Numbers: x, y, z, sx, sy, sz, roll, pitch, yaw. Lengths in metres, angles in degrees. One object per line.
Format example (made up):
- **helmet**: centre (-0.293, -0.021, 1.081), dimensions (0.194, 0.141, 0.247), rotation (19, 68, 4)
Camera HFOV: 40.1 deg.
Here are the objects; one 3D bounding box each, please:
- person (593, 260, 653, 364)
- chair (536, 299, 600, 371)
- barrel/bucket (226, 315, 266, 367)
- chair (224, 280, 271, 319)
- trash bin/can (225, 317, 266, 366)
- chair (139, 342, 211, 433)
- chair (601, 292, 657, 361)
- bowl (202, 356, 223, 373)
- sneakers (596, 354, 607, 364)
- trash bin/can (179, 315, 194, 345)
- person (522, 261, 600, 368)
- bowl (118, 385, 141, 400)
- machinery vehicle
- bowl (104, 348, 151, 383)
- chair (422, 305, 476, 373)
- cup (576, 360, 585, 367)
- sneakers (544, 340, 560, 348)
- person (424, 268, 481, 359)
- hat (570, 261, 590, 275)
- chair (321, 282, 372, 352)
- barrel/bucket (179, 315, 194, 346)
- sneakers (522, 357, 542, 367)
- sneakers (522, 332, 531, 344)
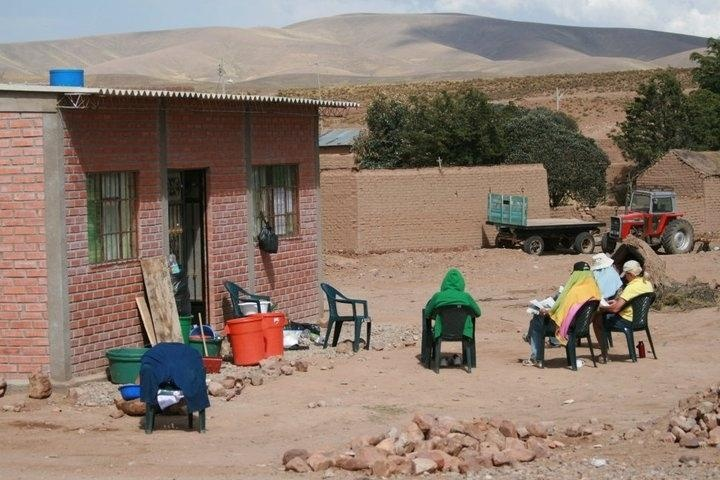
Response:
- **person**: centre (5.137, 1.388, 19.284), dimensions (1.070, 1.908, 1.053), rotation (5, 10, 40)
- **chair**: centre (4.009, 1.782, 18.838), dimensions (1.198, 1.349, 1.224), rotation (0, 1, -17)
- **barrel/bucket**: centre (-2.198, 1.955, 19.145), dimensions (0.889, 0.877, 0.783), rotation (-4, -3, -7)
- **chair**: centre (-2.270, 1.325, 20.488), dimensions (1.100, 0.712, 1.042), rotation (8, 4, -18)
- **trash bin/can**: centre (-2.239, 1.982, 19.498), dimensions (0.880, 0.865, 0.775), rotation (-4, -4, -7)
- **chair**: centre (-3.075, 2.445, 16.296), dimensions (1.085, 1.428, 0.704), rotation (-3, 12, -12)
- **chair**: centre (5.266, 1.645, 19.232), dimensions (0.925, 1.289, 0.913), rotation (-4, 6, -41)
- **bowl**: centre (-2.747, 2.336, 18.464), dimensions (0.351, 0.262, 0.353), rotation (-1, -5, 0)
- **sneakers**: centre (4.692, 2.304, 19.060), dimensions (0.154, 0.160, 0.438), rotation (1, 4, 9)
- **trash bin/can**: centre (-3.405, 1.738, 19.294), dimensions (0.392, 0.491, 0.405), rotation (0, -4, -3)
- **person**: centre (3.878, 1.430, 18.909), dimensions (1.307, 2.186, 1.024), rotation (15, 11, 35)
- **bowl**: centre (-3.976, 2.628, 17.035), dimensions (0.303, 0.175, 0.411), rotation (1, -8, -7)
- **machinery vehicle**: centre (9.809, -0.571, 33.802), dimensions (2.941, 2.157, 2.150), rotation (-1, 7, -12)
- **bowl**: centre (-4.275, 2.267, 17.983), dimensions (0.779, 0.591, 0.810), rotation (0, -3, 0)
- **chair**: centre (1.755, 1.847, 18.918), dimensions (0.987, 1.386, 0.982), rotation (0, 7, -9)
- **cup**: centre (4.220, 2.357, 18.819), dimensions (0.114, 0.164, 0.056), rotation (3, -7, 11)
- **sneakers**: centre (3.969, 2.140, 20.341), dimensions (0.142, 0.112, 0.233), rotation (4, 6, -41)
- **person**: centre (1.806, 1.213, 18.859), dimensions (1.052, 1.537, 0.892), rotation (3, 15, 5)
- **hat**: centre (4.192, 0.513, 18.734), dimensions (0.264, 0.224, 0.379), rotation (1, 3, -3)
- **chair**: centre (-0.290, 1.627, 20.967), dimensions (1.256, 1.749, 1.286), rotation (-1, -1, 21)
- **barrel/bucket**: centre (-3.415, 1.754, 19.323), dimensions (0.403, 0.525, 0.413), rotation (0, -5, 0)
- **sneakers**: centre (3.363, 2.364, 19.072), dimensions (0.302, 0.135, 0.131), rotation (6, 2, 40)
- **sneakers**: centre (3.319, 1.958, 19.474), dimensions (0.193, 0.123, 0.280), rotation (0, 9, 5)
